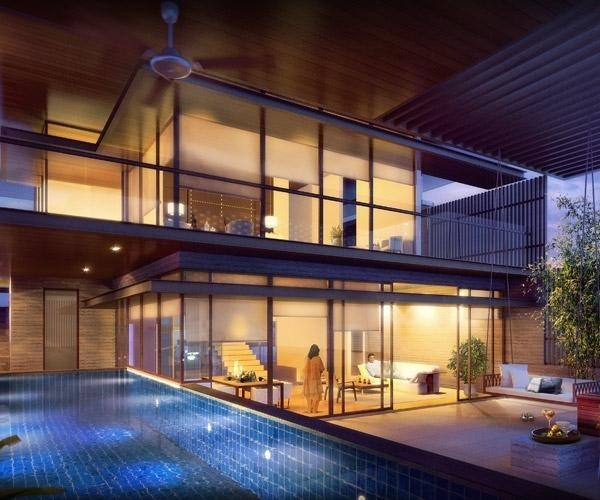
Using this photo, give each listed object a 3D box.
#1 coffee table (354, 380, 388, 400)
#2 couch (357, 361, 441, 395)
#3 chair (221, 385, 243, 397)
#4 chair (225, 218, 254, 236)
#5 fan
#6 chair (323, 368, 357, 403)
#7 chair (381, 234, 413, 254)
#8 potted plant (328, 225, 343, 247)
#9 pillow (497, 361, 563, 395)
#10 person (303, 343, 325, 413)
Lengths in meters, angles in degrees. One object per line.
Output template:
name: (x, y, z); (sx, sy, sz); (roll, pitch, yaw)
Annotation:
coffee table: (1.468, 2.764, 12.408); (1.038, 0.326, 0.145); (2, -2, -40)
couch: (2.607, 3.263, 15.843); (0.825, 0.594, 1.979); (4, -7, -37)
chair: (-1.226, 2.529, 11.151); (0.341, 0.188, 0.112); (1, -1, 6)
chair: (-1.089, -0.399, 11.276); (0.369, 0.228, 0.369); (1, -3, -1)
fan: (-1.163, -2.368, 7.123); (1.613, 0.620, 1.598); (2, -8, -28)
chair: (0.842, 2.687, 12.152); (0.604, 0.560, 0.490); (5, -7, -24)
chair: (2.100, -0.084, 13.494); (0.525, 0.576, 0.467); (6, -12, -21)
potted plant: (0.720, -0.274, 12.325); (0.328, 0.466, 0.353); (-2, -7, 12)
pillow: (5.194, 2.939, 14.035); (0.614, 0.529, 1.098); (8, -7, -37)
person: (0.220, 2.473, 11.861); (0.401, 1.255, 0.427); (3, -4, -36)
